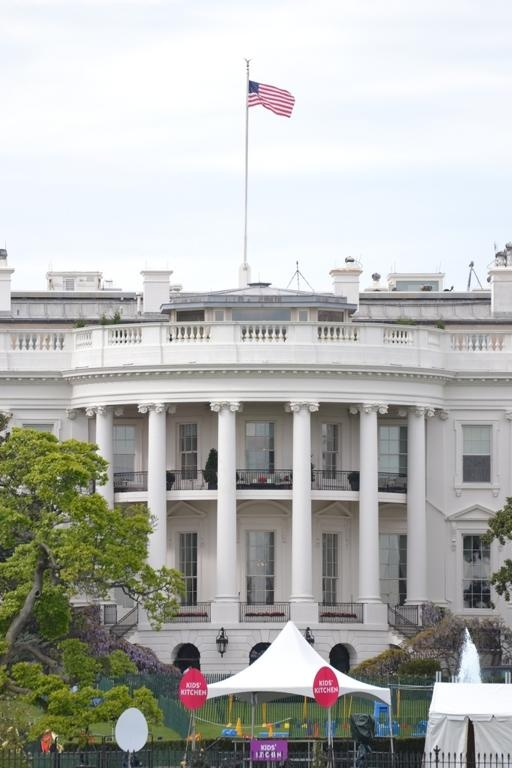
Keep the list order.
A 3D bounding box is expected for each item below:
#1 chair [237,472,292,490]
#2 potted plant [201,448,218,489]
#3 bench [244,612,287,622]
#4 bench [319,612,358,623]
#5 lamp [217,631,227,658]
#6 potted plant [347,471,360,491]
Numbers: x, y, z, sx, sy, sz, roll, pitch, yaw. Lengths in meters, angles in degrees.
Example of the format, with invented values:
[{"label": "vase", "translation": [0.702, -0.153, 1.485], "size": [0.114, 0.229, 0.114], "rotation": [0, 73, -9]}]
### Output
[{"label": "chair", "translation": [0.196, 2.467, 58.212], "size": [1.439, 0.583, 0.962], "rotation": [-2, -9, -1]}, {"label": "potted plant", "translation": [-1.219, 2.173, 57.863], "size": [0.384, 1.180, 0.864], "rotation": [-1, -8, -2]}, {"label": "bench", "translation": [0.228, 5.893, 56.650], "size": [1.083, 0.287, 0.488], "rotation": [-2, -9, -1]}, {"label": "bench", "translation": [2.111, 5.947, 56.870], "size": [1.108, 0.298, 0.370], "rotation": [4, -11, -31]}, {"label": "lamp", "translation": [-0.890, 6.476, 55.898], "size": [0.289, 0.699, 0.345], "rotation": [-1, -8, -2]}, {"label": "potted plant", "translation": [2.582, 2.501, 58.412], "size": [0.235, 0.584, 0.562], "rotation": [0, -9, -12]}]
